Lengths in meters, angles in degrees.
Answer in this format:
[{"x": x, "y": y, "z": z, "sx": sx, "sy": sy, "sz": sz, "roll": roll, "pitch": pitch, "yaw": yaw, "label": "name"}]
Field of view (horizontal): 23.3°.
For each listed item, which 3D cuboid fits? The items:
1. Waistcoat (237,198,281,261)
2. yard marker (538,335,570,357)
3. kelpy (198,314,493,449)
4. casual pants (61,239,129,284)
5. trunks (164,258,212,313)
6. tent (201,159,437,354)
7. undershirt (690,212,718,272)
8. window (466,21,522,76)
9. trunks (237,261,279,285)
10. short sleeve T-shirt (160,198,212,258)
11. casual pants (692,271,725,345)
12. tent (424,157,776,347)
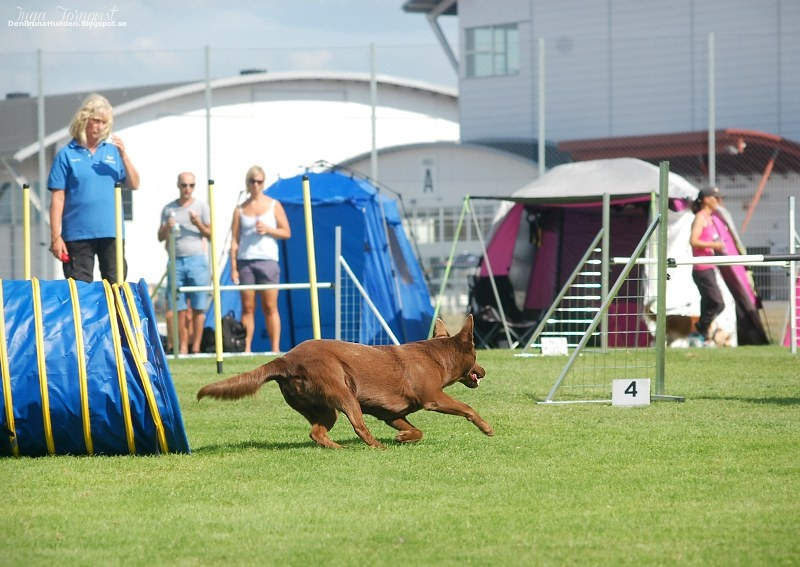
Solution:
[{"x": -1.894, "y": -0.705, "z": 25.612, "sx": 0.540, "sy": 0.798, "sz": 0.445, "roll": -2, "pitch": 1, "yaw": -5, "label": "Waistcoat"}, {"x": 2.037, "y": 0.842, "z": 26.201, "sx": 0.269, "sy": 0.268, "sz": 0.064, "roll": -3, "pitch": -7, "yaw": -12, "label": "yard marker"}, {"x": -0.558, "y": 1.124, "z": 21.081, "sx": 3.302, "sy": 1.506, "sz": 0.793, "roll": 0, "pitch": 1, "yaw": -19, "label": "kelpy"}, {"x": -3.549, "y": -0.264, "z": 22.479, "sx": 0.454, "sy": 0.653, "sz": 0.226, "roll": 2, "pitch": -10, "yaw": -33, "label": "casual pants"}, {"x": -2.853, "y": -0.001, "z": 26.547, "sx": 0.433, "sy": 0.780, "sz": 1.033, "roll": -2, "pitch": 1, "yaw": -6, "label": "trunks"}, {"x": -1.158, "y": -0.392, "z": 27.654, "sx": 2.621, "sy": 1.988, "sz": 2.601, "roll": 1, "pitch": -6, "yaw": -44, "label": "tent"}, {"x": 4.075, "y": -0.546, "z": 26.193, "sx": 0.370, "sy": 0.731, "sz": 0.694, "roll": -1, "pitch": 1, "yaw": 9, "label": "undershirt"}, {"x": 1.586, "y": -3.970, "z": 32.898, "sx": 0.966, "sy": 1.021, "sz": 0.075, "roll": -1, "pitch": -22, "yaw": 7, "label": "window"}, {"x": -1.884, "y": -0.151, "z": 25.659, "sx": 0.486, "sy": 0.454, "sz": 0.307, "roll": 0, "pitch": -2, "yaw": -1, "label": "trunks"}, {"x": -2.893, "y": -0.759, "z": 26.245, "sx": 0.802, "sy": 0.918, "sz": 0.488, "roll": 0, "pitch": -5, "yaw": -19, "label": "short sleeve T-shirt"}, {"x": 4.220, "y": 0.156, "z": 26.751, "sx": 0.399, "sy": 1.053, "sz": 0.299, "roll": -3, "pitch": 28, "yaw": 7, "label": "casual pants"}, {"x": 2.815, "y": -0.948, "z": 28.071, "sx": 3.234, "sy": 2.116, "sz": 3.315, "roll": -1, "pitch": -4, "yaw": 24, "label": "tent"}]
